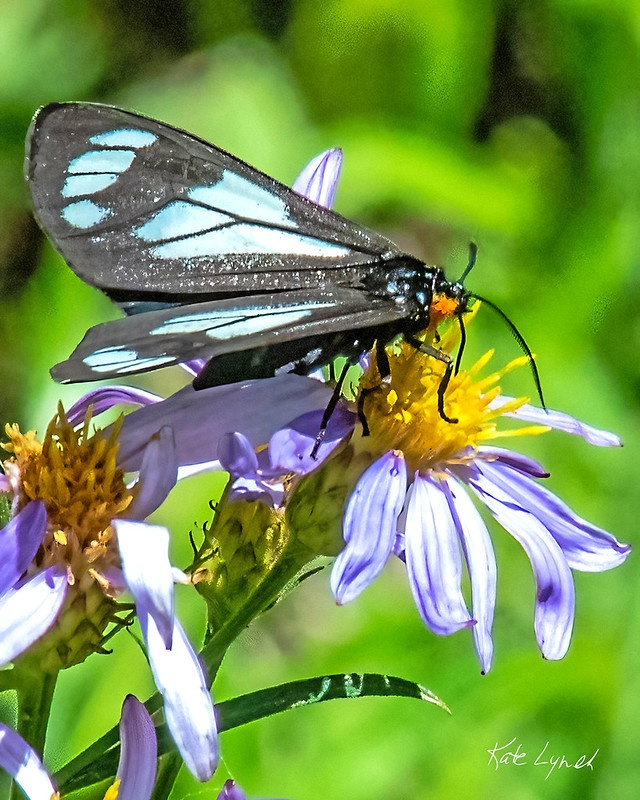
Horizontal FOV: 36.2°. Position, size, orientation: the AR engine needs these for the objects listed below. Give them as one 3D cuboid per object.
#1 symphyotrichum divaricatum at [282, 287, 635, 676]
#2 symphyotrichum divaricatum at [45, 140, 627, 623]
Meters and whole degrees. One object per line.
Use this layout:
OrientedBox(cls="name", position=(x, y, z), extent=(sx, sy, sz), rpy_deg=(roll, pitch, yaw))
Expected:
OrientedBox(cls="symphyotrichum divaricatum", position=(0.111, 0.185, 1.419), extent=(0.466, 0.162, 0.476), rpy_deg=(37, 44, 1))
OrientedBox(cls="symphyotrichum divaricatum", position=(-0.008, 0.104, 1.394), extent=(0.690, 0.313, 0.711), rpy_deg=(5, 44, -34))
